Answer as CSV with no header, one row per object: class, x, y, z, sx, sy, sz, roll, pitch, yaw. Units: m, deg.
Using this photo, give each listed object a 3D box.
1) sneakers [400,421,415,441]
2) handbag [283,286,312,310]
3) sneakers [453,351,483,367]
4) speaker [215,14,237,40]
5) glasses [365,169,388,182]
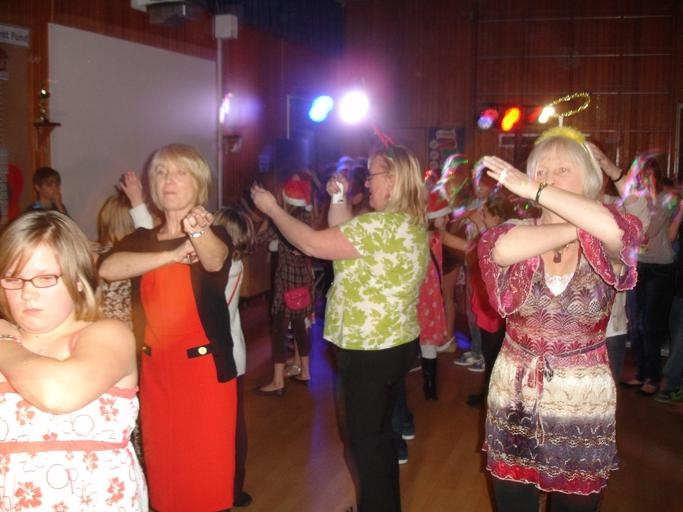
sneakers,0.516,1.328,3.851,0.069,0.085,0.200,-1,-4,6
handbag,-0.402,0.382,4.652,0.196,0.151,0.041,-5,8,-32
sneakers,1.371,1.105,5.505,0.121,0.103,0.303,1,-2,-43
speaker,-1.462,-2.948,6.530,0.294,0.323,0.224,2,10,6
glasses,0.178,-0.434,2.720,0.069,0.066,0.223,-4,15,-15
